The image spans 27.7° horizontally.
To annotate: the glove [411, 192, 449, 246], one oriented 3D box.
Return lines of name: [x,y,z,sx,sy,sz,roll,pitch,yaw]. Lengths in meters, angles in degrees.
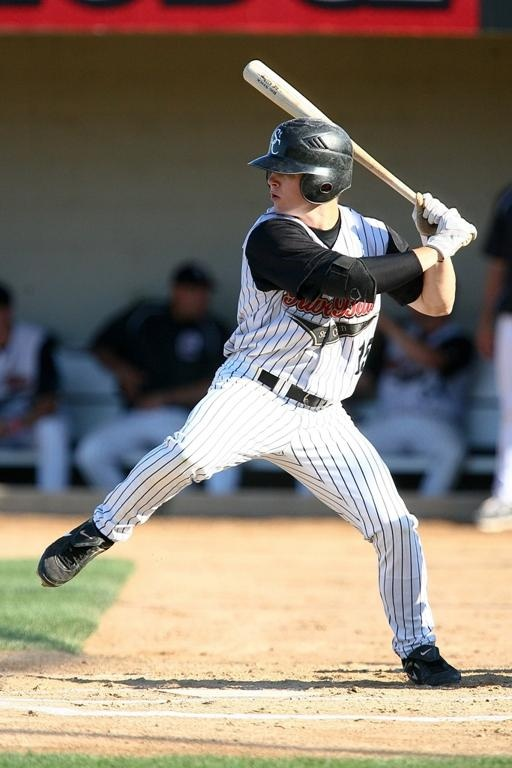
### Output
glove: [0.394,-0.368,2.350,0.047,0.117,0.105,4,1,-37]

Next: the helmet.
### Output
helmet: [0.094,-0.471,2.154,0.244,0.144,0.166,-7,26,-23]

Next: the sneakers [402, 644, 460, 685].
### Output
sneakers: [0.377,0.599,2.239,0.083,0.049,0.122,-3,-1,-22]

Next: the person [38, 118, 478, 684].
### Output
person: [0.034,0.049,2.133,0.868,1.192,0.422,0,5,-10]

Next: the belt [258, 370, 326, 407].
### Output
belt: [0.075,0.012,2.142,0.104,0.021,0.089,20,2,-19]
